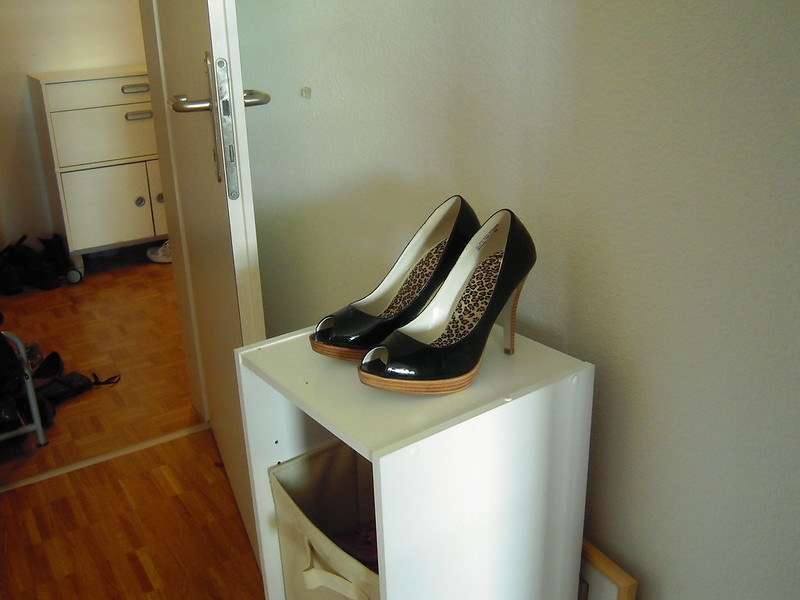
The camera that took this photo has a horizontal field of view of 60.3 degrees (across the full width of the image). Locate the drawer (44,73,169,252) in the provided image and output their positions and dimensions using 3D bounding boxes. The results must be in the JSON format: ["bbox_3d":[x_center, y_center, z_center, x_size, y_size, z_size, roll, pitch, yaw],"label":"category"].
[{"bbox_3d":[-1.560,-0.735,3.606,0.767,0.746,0.295,-19,32,-29],"label":"drawer"}]

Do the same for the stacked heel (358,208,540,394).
[{"bbox_3d":[0.087,0.006,1.190,0.356,0.262,0.160,-15,24,-31],"label":"stacked heel"}]
